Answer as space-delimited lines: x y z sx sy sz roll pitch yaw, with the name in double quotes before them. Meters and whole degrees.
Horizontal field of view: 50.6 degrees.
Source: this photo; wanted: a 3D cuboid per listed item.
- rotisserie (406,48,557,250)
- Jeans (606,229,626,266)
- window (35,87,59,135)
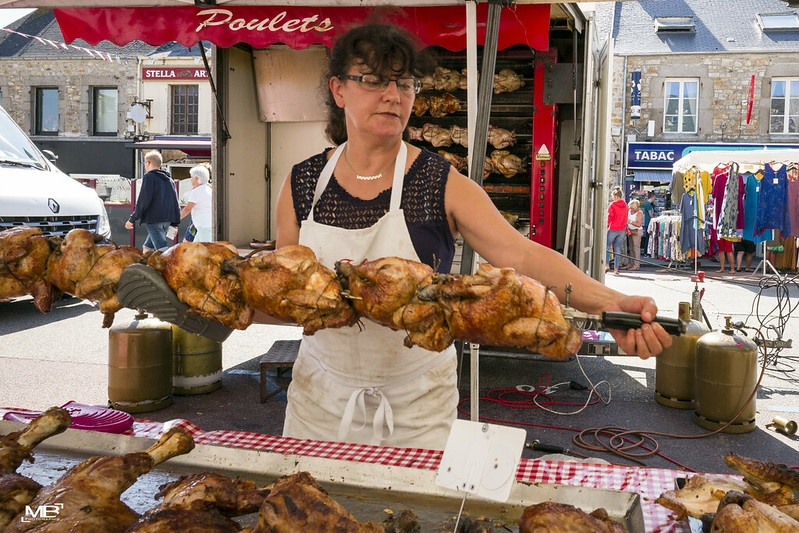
"rotisserie" 1.254 -1.775 11.860 1.814 3.362 1.063 4 32 14
"Jeans" 4.815 -0.411 18.962 0.467 1.005 0.325 16 41 25
"window" -11.445 -5.017 27.686 0.136 1.793 0.891 10 14 24
